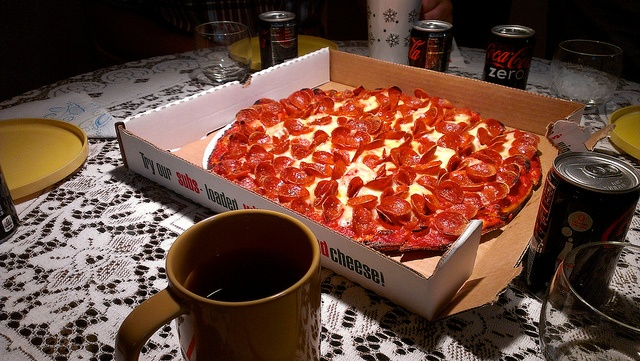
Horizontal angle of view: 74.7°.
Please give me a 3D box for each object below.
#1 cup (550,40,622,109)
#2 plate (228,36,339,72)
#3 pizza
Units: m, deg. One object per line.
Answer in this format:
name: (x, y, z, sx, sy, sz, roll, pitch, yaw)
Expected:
cup: (0.746, -0.296, 1.180, 0.168, 0.157, 0.158, -4, 38, 3)
plate: (-0.108, -0.446, 1.475, 0.264, 0.035, 0.187, 12, 41, 16)
pizza: (0.112, -0.033, 0.997, 0.618, 0.064, 0.434, 18, 39, 24)
